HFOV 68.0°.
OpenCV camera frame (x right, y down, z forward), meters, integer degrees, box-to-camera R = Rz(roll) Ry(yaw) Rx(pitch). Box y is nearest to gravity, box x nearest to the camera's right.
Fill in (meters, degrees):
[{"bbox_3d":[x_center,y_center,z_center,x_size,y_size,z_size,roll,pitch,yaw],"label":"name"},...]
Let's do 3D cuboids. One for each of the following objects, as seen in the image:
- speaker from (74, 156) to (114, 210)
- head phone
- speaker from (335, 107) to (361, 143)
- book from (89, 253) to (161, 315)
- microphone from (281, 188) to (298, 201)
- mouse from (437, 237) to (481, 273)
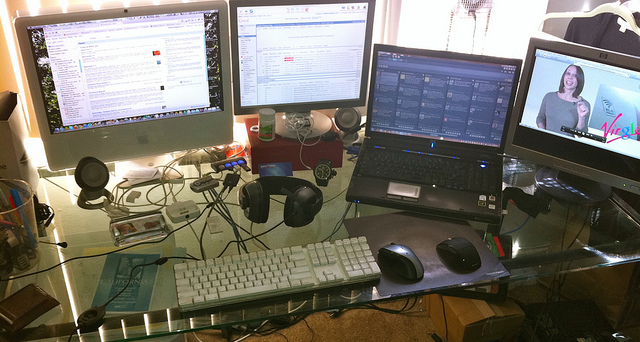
[{"bbox_3d":[-1.183,0.060,2.471,0.232,0.260,0.079,-11,20,-26],"label":"speaker"},{"bbox_3d":[-0.206,0.135,2.521,0.447,0.152,0.464,13,18,17],"label":"head phone"},{"bbox_3d":[0.157,-0.268,2.752,0.186,0.234,0.157,-4,46,1],"label":"speaker"},{"bbox_3d":[-0.891,0.534,2.221,0.251,0.227,0.228,0,46,-10],"label":"book"},{"bbox_3d":[-0.152,0.117,2.377,0.076,0.024,0.060,26,-5,-30],"label":"microphone"},{"bbox_3d":[0.670,0.402,2.271,0.169,0.106,0.161,-9,31,-17],"label":"mouse"}]
